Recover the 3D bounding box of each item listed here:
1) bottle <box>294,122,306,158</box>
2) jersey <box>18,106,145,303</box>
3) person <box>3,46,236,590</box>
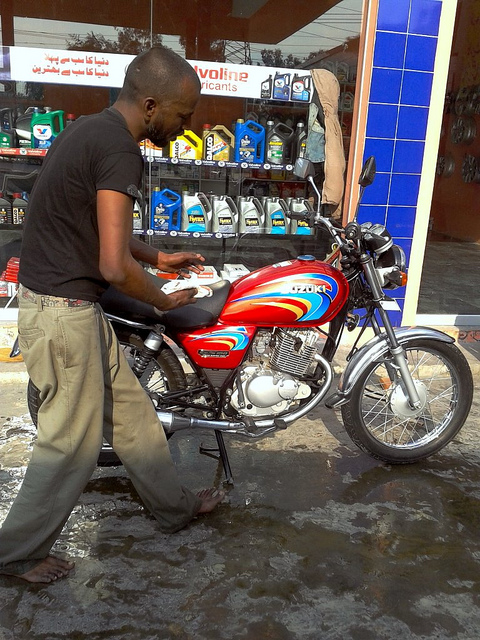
[{"bbox_3d":[0.526,-1.604,4.134,0.072,0.273,0.079,4,11,-1],"label":"bottle"},{"bbox_3d":[-0.436,-0.301,1.321,0.387,0.520,0.205,13,14,39],"label":"jersey"},{"bbox_3d":[-0.496,0.022,1.720,0.744,1.783,0.906,6,11,8],"label":"person"}]
